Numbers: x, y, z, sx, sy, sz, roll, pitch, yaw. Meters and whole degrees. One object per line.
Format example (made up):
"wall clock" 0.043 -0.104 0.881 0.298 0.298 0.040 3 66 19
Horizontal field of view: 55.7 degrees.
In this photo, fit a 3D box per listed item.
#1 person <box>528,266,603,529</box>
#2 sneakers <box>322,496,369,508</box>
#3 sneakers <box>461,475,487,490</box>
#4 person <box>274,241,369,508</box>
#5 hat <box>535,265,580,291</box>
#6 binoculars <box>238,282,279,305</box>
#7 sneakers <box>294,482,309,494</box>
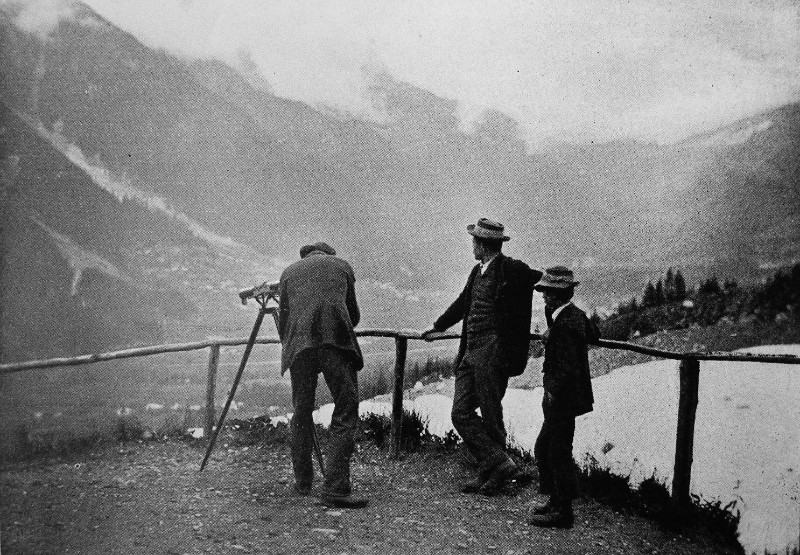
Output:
"person" 1.366 1.019 6.401 0.491 2.156 0.692 0 -8 0
"sneakers" -0.471 1.887 6.500 0.356 0.168 0.152 3 -11 -9
"sneakers" 0.654 1.826 6.711 0.161 0.073 0.106 -14 -19 -33
"person" -0.687 0.877 6.651 0.807 2.174 0.406 2 -8 -10
"hat" 1.336 0.021 6.334 0.231 0.130 0.243 -4 -3 34
"binoculars" -1.342 0.134 6.948 0.483 0.226 0.167 -11 -12 37
"sneakers" -0.868 1.836 6.636 0.102 0.124 0.101 -3 0 0
